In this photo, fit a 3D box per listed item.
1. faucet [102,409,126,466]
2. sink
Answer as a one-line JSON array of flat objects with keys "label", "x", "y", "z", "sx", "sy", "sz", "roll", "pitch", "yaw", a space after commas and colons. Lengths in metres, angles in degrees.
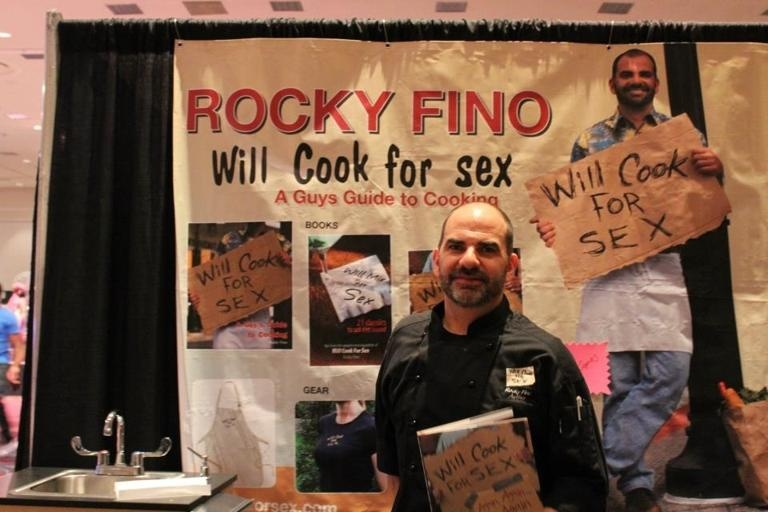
[{"label": "faucet", "x": -1.494, "y": 1.002, "z": 4.330, "sx": 0.116, "sy": 0.298, "sz": 0.474, "roll": 1, "pitch": -9, "yaw": -19}, {"label": "sink", "x": -1.492, "y": 1.199, "z": 4.132, "sx": 0.997, "sy": 0.134, "sz": 0.442, "roll": -1, "pitch": -8, "yaw": -1}]
